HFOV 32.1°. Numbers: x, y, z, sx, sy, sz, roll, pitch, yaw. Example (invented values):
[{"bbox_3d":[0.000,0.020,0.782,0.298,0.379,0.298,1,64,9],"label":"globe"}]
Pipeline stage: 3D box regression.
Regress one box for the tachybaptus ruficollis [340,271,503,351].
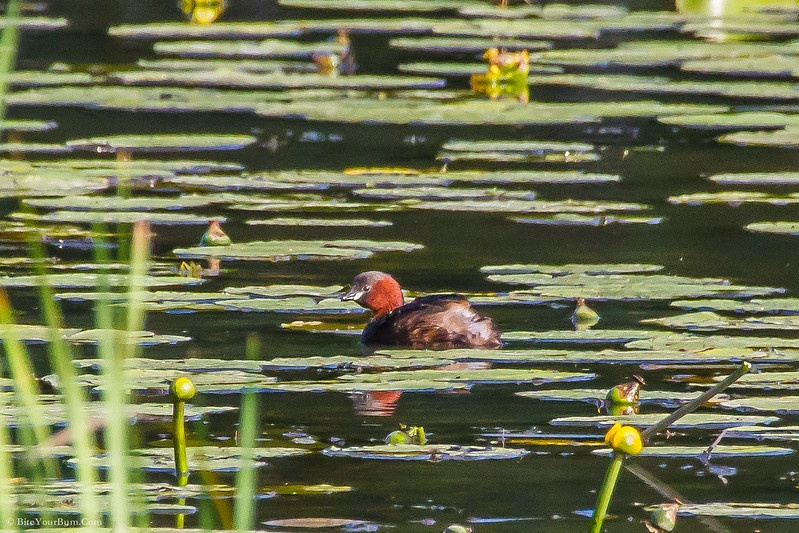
[{"bbox_3d":[0.264,0.353,9.663,0.528,0.597,1.410,-27,17,-38],"label":"tachybaptus ruficollis"}]
